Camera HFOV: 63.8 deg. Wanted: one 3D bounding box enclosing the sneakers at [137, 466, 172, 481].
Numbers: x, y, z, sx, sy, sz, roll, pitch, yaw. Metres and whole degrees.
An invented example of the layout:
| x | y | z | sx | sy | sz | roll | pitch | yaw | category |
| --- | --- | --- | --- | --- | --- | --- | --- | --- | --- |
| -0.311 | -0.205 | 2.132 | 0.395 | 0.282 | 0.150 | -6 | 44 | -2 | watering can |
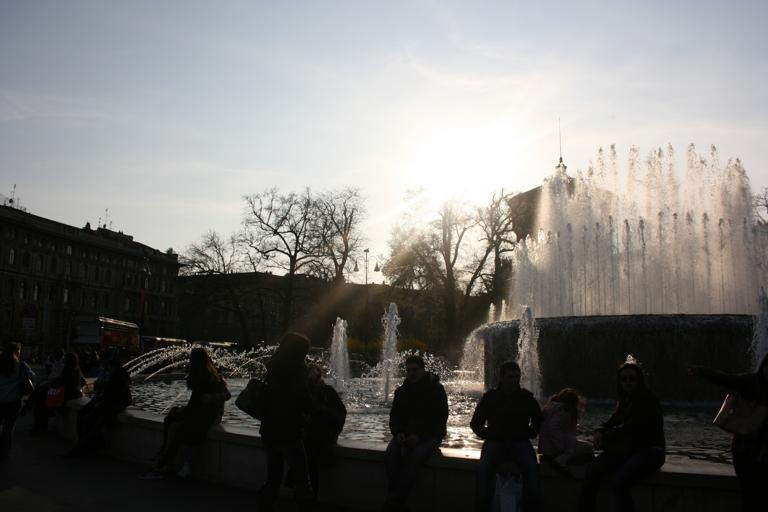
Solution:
| x | y | z | sx | sy | sz | roll | pitch | yaw | category |
| --- | --- | --- | --- | --- | --- | --- | --- | --- | --- |
| -3.469 | 3.276 | 9.404 | 0.470 | 0.183 | 0.174 | 6 | -13 | 2 | sneakers |

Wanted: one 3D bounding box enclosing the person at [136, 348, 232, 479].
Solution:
| x | y | z | sx | sy | sz | roll | pitch | yaw | category |
| --- | --- | --- | --- | --- | --- | --- | --- | --- | --- |
| -2.942 | 2.354 | 9.371 | 1.053 | 1.950 | 0.562 | -1 | -10 | 22 | person |

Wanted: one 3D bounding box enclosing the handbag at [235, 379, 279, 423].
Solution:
| x | y | z | sx | sy | sz | roll | pitch | yaw | category |
| --- | --- | --- | --- | --- | --- | --- | --- | --- | --- |
| -1.606 | 1.749 | 7.820 | 0.495 | 0.503 | 0.527 | 7 | -3 | 33 | handbag |

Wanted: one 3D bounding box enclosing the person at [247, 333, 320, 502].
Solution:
| x | y | z | sx | sy | sz | roll | pitch | yaw | category |
| --- | --- | --- | --- | --- | --- | --- | --- | --- | --- |
| -1.198 | 2.064 | 7.818 | 0.727 | 2.189 | 0.373 | 4 | -9 | -6 | person |
